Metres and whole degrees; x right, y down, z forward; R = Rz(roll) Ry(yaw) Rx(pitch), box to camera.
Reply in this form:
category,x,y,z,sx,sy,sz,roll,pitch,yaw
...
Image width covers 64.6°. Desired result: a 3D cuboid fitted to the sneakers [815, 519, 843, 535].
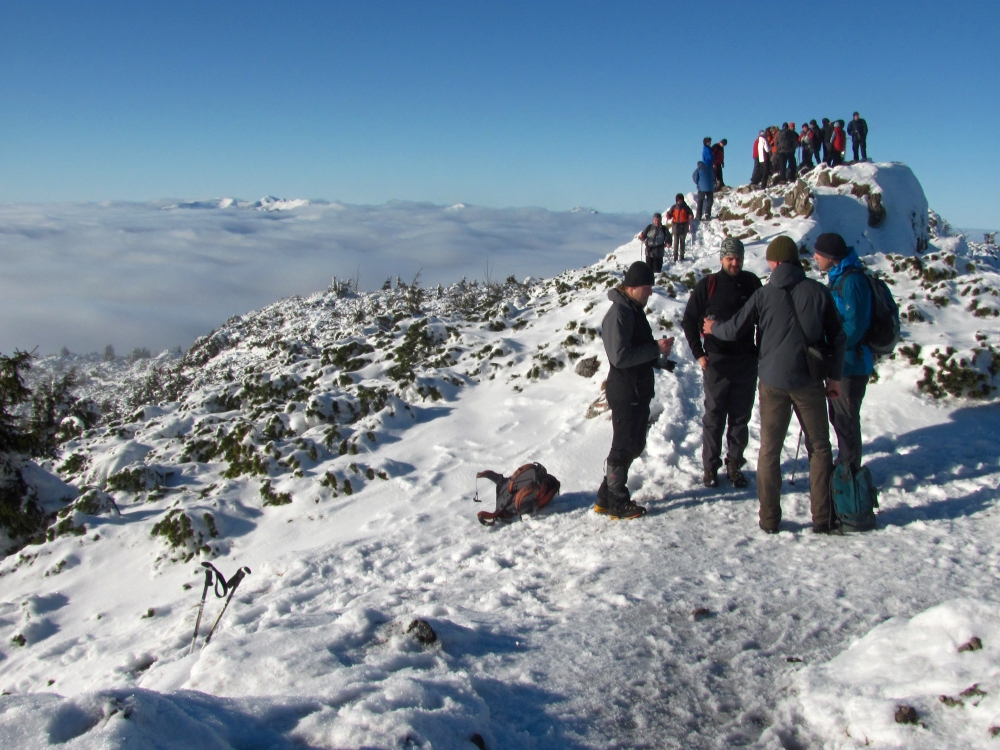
category,x,y,z,sx,sy,sz,roll,pitch,yaw
sneakers,4.207,1.966,10.117,0.284,0.201,0.172,-10,-10,11

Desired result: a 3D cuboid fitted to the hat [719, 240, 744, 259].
category,x,y,z,sx,sy,sz,roll,pitch,yaw
hat,3.184,-1.758,10.887,0.223,0.269,0.315,4,29,4

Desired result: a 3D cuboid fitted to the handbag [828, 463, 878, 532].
category,x,y,z,sx,sy,sz,roll,pitch,yaw
handbag,4.599,1.580,10.230,0.454,0.864,0.608,-1,4,43

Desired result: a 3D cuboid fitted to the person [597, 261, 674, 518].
category,x,y,z,sx,sy,sz,roll,pitch,yaw
person,1.768,0.259,10.763,0.903,3.553,0.788,5,3,6

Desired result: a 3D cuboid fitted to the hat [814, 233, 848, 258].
category,x,y,z,sx,sy,sz,roll,pitch,yaw
hat,4.323,-1.709,10.392,0.376,0.232,0.384,15,19,-4

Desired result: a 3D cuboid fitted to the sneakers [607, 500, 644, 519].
category,x,y,z,sx,sy,sz,roll,pitch,yaw
sneakers,1.757,1.876,11.000,0.402,0.193,0.228,-5,-4,17

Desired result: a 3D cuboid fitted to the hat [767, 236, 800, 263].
category,x,y,z,sx,sy,sz,roll,pitch,yaw
hat,3.572,-1.553,9.928,0.350,0.291,0.363,1,14,10

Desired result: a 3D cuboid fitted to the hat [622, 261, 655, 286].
category,x,y,z,sx,sy,sz,roll,pitch,yaw
hat,1.861,-1.333,10.629,0.340,0.284,0.334,-3,4,-43

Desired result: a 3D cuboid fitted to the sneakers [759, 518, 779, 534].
category,x,y,z,sx,sy,sz,roll,pitch,yaw
sneakers,3.490,1.952,10.263,0.201,0.165,0.211,1,2,36

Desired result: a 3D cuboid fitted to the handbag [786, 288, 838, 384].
category,x,y,z,sx,sy,sz,roll,pitch,yaw
handbag,3.941,-0.468,9.822,0.244,0.972,0.720,-19,-8,12
